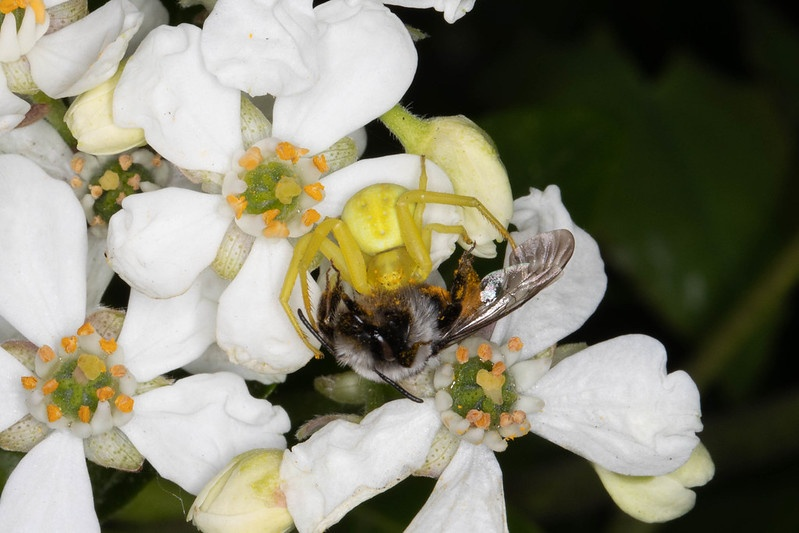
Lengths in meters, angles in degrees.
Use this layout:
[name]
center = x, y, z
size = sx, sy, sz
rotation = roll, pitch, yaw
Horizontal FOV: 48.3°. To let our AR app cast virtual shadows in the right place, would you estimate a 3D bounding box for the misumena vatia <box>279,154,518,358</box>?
[misumena vatia]
center = -0.019, -0.030, 1.711
size = 0.452, 0.264, 0.213
rotation = -14, 53, -21
